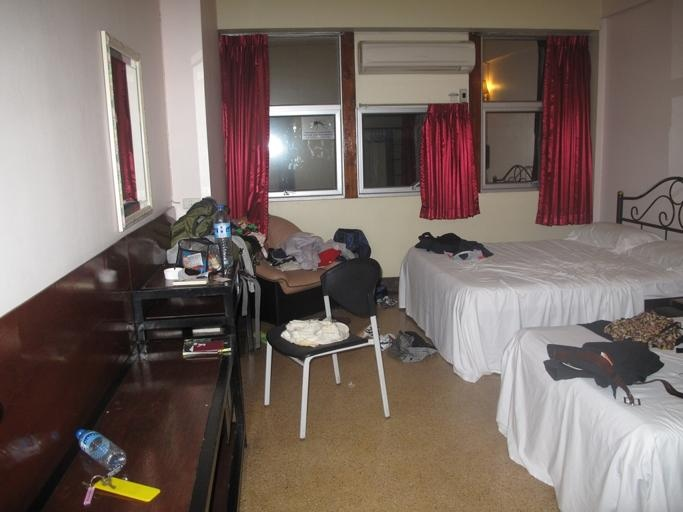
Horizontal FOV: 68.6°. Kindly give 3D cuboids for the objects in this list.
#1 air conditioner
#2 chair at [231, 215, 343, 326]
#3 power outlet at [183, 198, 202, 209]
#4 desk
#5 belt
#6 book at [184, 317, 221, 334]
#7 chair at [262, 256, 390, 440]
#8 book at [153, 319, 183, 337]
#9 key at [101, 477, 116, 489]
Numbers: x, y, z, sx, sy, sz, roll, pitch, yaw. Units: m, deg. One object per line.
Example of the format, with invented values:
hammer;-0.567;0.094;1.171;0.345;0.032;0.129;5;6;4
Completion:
air conditioner;0.788;-2.135;5.418;1.231;0.361;0.218;5;3;14
chair;-0.478;0.066;4.931;0.754;0.968;0.861;-11;18;-35
power outlet;-1.273;-0.447;4.253;0.138;0.098;0.088;-2;12;10
desk;-0.933;0.226;3.002;0.388;0.219;0.580;-1;19;-5
belt;1.269;0.549;2.368;0.068;0.224;0.433;-13;8;-10
book;-0.794;0.413;2.933;0.120;0.054;0.127;-1;4;-2
chair;-0.111;0.546;3.255;0.660;1.004;0.638;-3;9;-27
book;-1.023;0.419;2.939;0.172;0.114;0.042;-3;12;6
key;-0.843;0.822;1.810;0.039;0.015;0.032;16;19;-8
